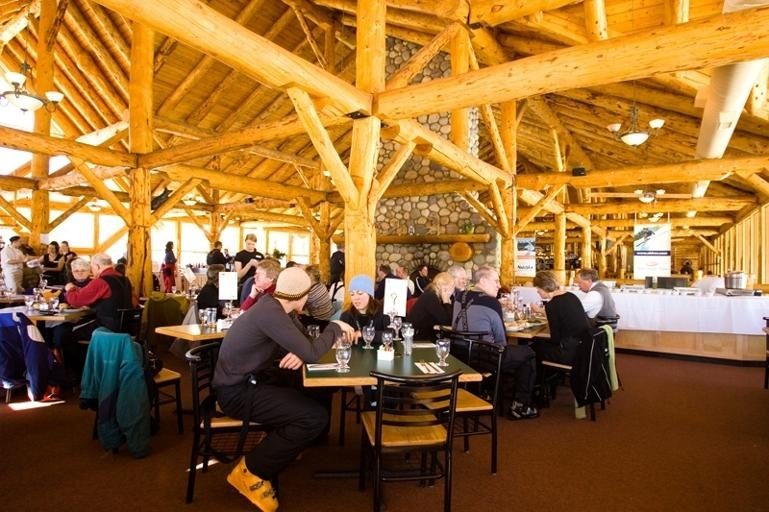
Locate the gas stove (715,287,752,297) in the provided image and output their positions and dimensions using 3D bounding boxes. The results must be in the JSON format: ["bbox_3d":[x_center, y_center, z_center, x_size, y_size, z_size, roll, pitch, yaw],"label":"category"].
[{"bbox_3d":[5.822,0.604,9.486,0.527,0.138,0.486,-2,-4,28],"label":"gas stove"}]

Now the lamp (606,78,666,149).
[{"bbox_3d":[4.489,-2.676,10.281,0.965,1.248,0.786,3,13,16],"label":"lamp"}]

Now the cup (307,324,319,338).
[{"bbox_3d":[-0.826,0.844,6.428,0.154,0.124,0.139,3,3,-8],"label":"cup"}]

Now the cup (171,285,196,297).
[{"bbox_3d":[-4.078,0.689,11.411,0.428,0.116,0.294,-2,-2,30],"label":"cup"}]

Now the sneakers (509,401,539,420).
[{"bbox_3d":[1.708,1.933,7.080,0.386,0.214,0.171,-3,4,-14],"label":"sneakers"}]

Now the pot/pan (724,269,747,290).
[{"bbox_3d":[6.220,0.426,10.003,0.417,0.318,0.384,0,-4,9],"label":"pot/pan"}]

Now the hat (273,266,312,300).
[{"bbox_3d":[-0.922,0.236,5.818,0.287,0.233,0.401,14,29,27],"label":"hat"}]

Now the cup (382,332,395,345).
[{"bbox_3d":[0.029,0.882,6.053,0.141,0.130,0.149,0,-3,0],"label":"cup"}]

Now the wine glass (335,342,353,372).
[{"bbox_3d":[-0.431,1.007,5.722,0.137,0.300,0.265,0,-3,-5],"label":"wine glass"}]

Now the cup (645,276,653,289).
[{"bbox_3d":[5.051,0.491,10.899,0.149,0.220,0.260,-2,-3,24],"label":"cup"}]
